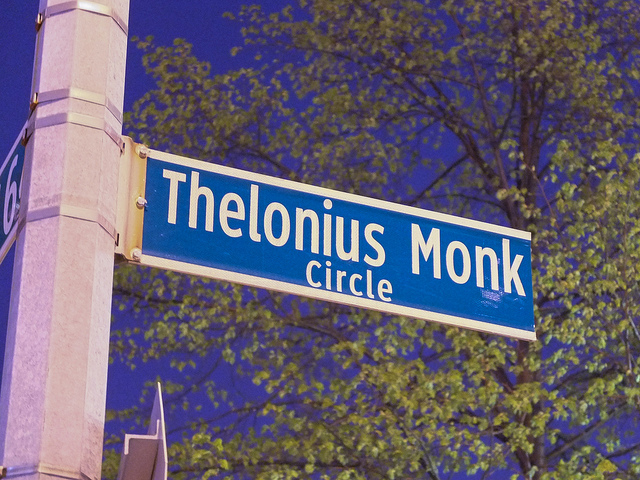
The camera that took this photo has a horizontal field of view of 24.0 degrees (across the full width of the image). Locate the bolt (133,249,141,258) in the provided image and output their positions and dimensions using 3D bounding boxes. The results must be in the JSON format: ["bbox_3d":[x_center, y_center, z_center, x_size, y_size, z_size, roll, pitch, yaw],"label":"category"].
[{"bbox_3d":[-1.668,0.130,13.718,0.071,0.064,0.041,7,-41,-9],"label":"bolt"}]
